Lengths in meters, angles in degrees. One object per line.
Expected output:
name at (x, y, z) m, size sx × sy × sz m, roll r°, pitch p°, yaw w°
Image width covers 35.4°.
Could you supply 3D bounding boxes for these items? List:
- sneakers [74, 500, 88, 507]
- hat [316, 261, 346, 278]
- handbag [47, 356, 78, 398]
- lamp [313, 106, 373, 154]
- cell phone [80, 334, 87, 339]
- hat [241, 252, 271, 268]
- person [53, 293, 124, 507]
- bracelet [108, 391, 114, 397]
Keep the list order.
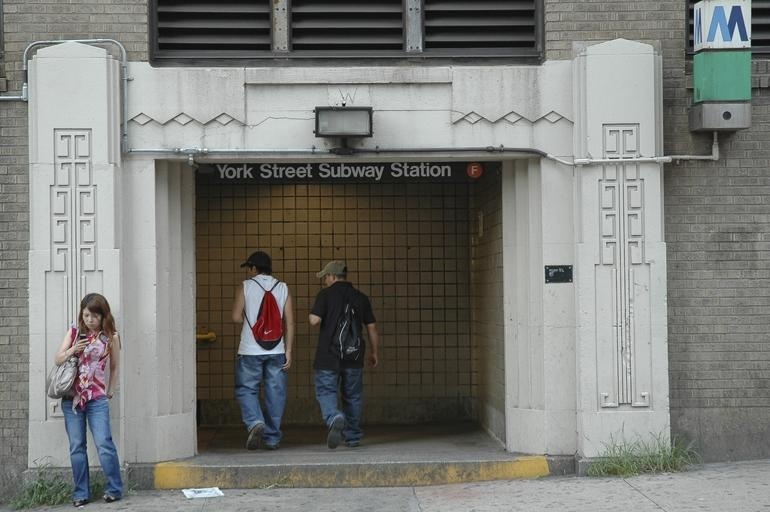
sneakers at (-3.772, 3.028, 14.875) m, size 0.066 × 0.075 × 0.181 m, roll -1°, pitch 0°, yaw 40°
hat at (-0.725, 0.182, 16.785) m, size 0.348 × 0.170 × 0.224 m, roll 0°, pitch -1°, yaw 1°
handbag at (-3.969, 1.496, 14.847) m, size 0.472 × 0.531 × 0.239 m, roll -8°, pitch -26°, yaw 44°
lamp at (-0.475, -1.618, 15.779) m, size 0.829 × 0.645 × 0.440 m, roll 2°, pitch 4°, yaw 13°
cell phone at (-3.742, 0.993, 14.933) m, size 0.095 × 0.086 × 0.049 m, roll 0°, pitch -12°, yaw -8°
hat at (-1.781, 0.059, 16.686) m, size 0.337 × 0.177 × 0.244 m, roll 2°, pitch 1°, yaw 16°
person at (-3.683, 1.767, 14.992) m, size 0.753 × 2.211 × 0.297 m, roll -3°, pitch 1°, yaw -12°
bracelet at (-3.467, 1.736, 15.192) m, size 0.062 × 0.060 × 0.066 m, roll 6°, pitch -13°, yaw -16°
